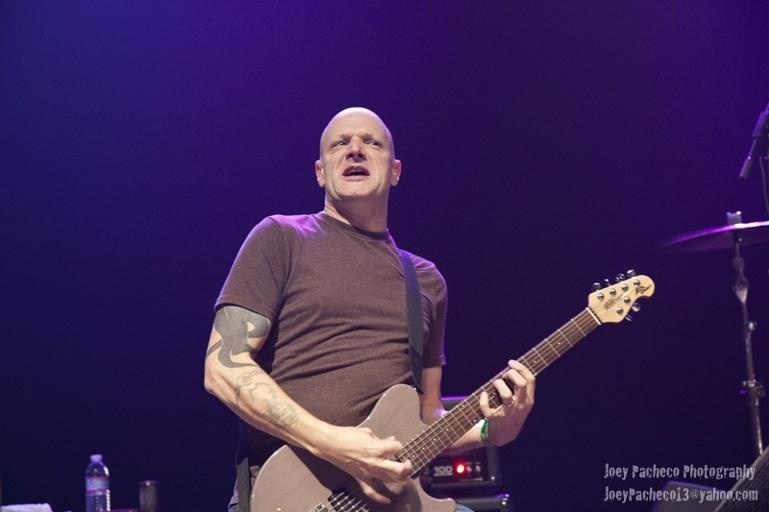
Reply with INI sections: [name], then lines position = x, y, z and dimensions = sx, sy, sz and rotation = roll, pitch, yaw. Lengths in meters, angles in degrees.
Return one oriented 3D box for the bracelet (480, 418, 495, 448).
[bracelet]
position = 0.674, 1.175, 4.688
dimensions = 0.063, 0.189, 0.134
rotation = 0, -5, -6
